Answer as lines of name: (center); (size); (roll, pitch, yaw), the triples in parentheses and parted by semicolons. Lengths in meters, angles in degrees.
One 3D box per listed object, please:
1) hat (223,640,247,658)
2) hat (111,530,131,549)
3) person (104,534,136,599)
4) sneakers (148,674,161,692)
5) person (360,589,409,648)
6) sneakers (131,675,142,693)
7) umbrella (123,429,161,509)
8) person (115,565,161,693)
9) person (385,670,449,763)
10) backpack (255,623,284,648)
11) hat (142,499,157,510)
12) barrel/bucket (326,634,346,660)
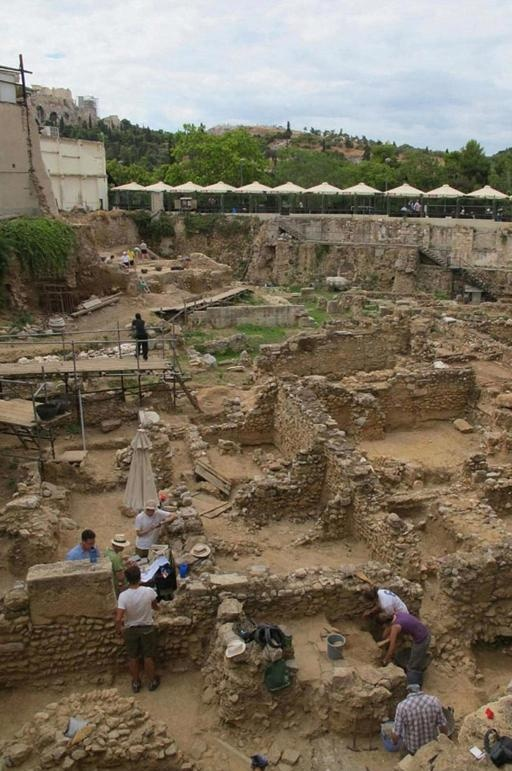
hat: (-0.227, 2.857, 6.816); (0.217, 0.137, 0.229); (-2, 10, -2)
hat: (-1.969, 2.237, 9.065); (0.295, 0.109, 0.269); (0, 3, 15)
person: (-1.734, 2.321, 8.011); (0.330, 0.822, 0.278); (24, 38, 35)
sneakers: (-1.172, 3.424, 7.222); (0.082, 0.081, 0.198); (3, 5, -3)
person: (1.594, 2.899, 8.244); (0.519, 0.756, 0.319); (18, 40, 2)
sneakers: (-1.363, 3.418, 7.189); (0.079, 0.089, 0.207); (1, 8, -18)
umbrella: (-1.857, 1.376, 9.972); (0.522, 1.431, 0.492); (-4, 11, -12)
person: (-1.351, 2.743, 7.186); (0.447, 1.500, 0.381); (-4, 11, -12)
person: (1.715, 3.681, 6.611); (0.577, 1.270, 0.338); (-6, 10, 2)
backpack: (0.162, 2.810, 7.059); (0.284, 0.200, 0.265); (2, -2, -17)
hat: (-1.544, 1.734, 9.150); (0.276, 0.186, 0.364); (0, -11, -4)
barrel/bucket: (0.955, 3.120, 7.513); (0.212, 0.194, 0.233); (3, -2, 0)
